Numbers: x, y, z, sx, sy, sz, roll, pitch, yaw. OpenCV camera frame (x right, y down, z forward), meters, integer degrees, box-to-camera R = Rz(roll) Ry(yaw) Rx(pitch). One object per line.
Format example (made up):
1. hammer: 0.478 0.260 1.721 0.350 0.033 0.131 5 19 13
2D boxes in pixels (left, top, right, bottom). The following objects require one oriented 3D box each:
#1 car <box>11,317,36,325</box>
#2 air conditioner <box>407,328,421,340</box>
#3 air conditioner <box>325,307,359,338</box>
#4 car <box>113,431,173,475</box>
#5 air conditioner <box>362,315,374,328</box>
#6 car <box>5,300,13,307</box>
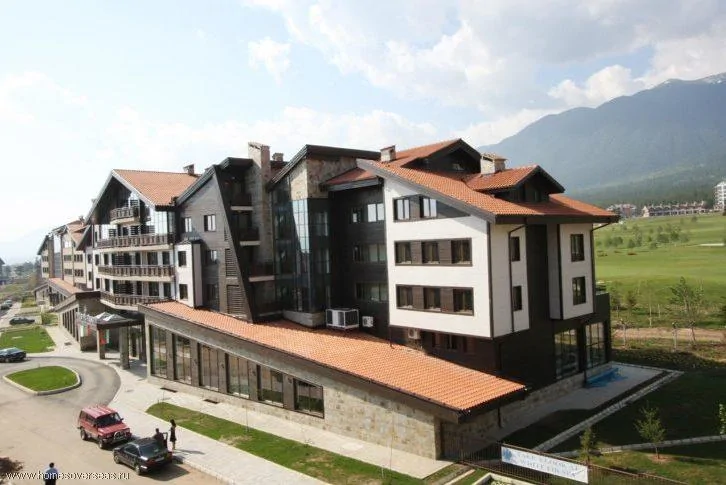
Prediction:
1. car: -67.277 15.058 110.337 3.753 1.068 4.953 -6 14 -37
2. air conditioner: 4.792 8.658 54.454 0.480 1.159 1.464 3 -3 -43
3. air conditioner: -2.339 8.325 59.359 2.607 2.182 3.195 1 -2 -44
4. car: -18.897 17.941 47.979 4.569 2.133 2.056 8 13 25
5. air conditioner: 0.346 8.081 58.471 1.402 1.106 0.458 -2 -8 41
6. car: -95.432 16.093 150.422 2.398 0.694 1.445 7 7 36
